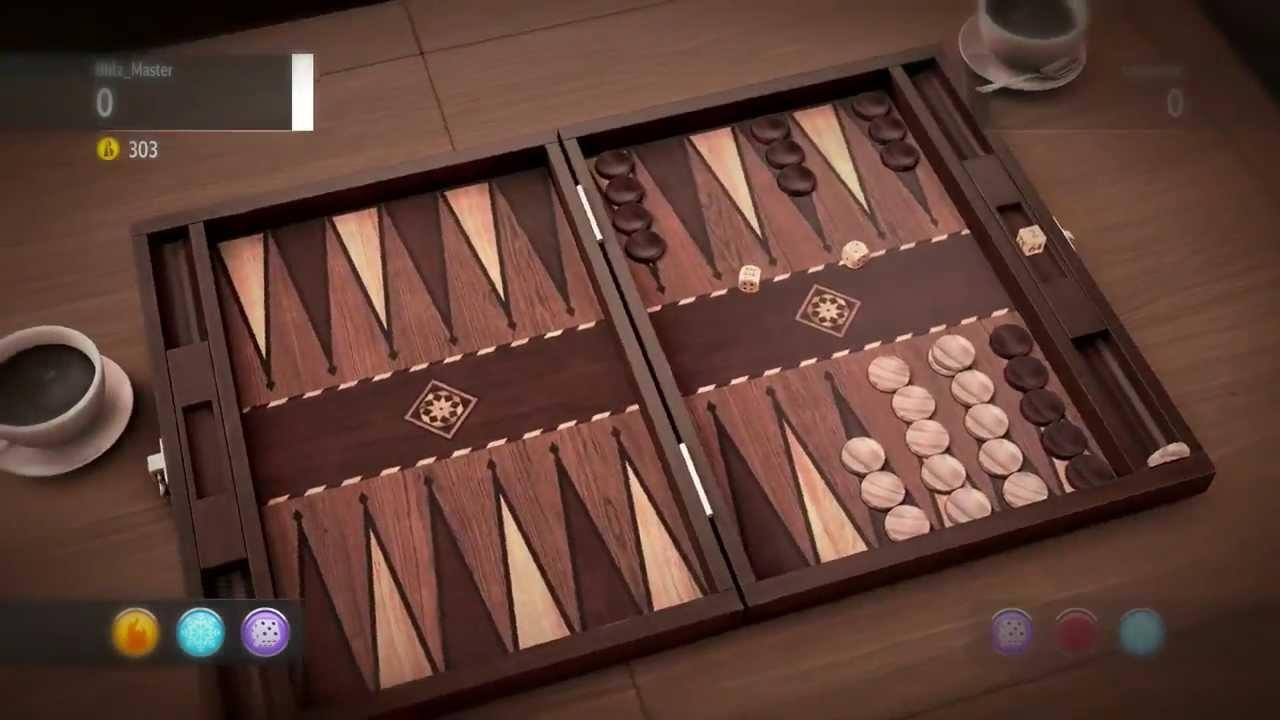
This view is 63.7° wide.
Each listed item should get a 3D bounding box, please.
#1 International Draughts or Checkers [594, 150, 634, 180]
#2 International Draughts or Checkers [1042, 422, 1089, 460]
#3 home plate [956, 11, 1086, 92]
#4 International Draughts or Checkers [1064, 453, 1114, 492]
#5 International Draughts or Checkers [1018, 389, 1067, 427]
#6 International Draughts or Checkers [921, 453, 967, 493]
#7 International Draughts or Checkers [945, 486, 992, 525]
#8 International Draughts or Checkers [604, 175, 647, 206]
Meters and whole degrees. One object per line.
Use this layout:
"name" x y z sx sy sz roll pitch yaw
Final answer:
"International Draughts or Checkers" -0.124 -0.923 4.864 0.153 0.146 0.036 0 -30 -3
"International Draughts or Checkers" 1.814 0.348 4.412 0.171 0.172 0.043 -13 -22 -7
"home plate" 1.876 -1.475 5.062 0.502 0.479 0.087 11 -3 3
"International Draughts or Checkers" 1.890 0.458 4.348 0.155 0.147 0.036 0 -38 0
"International Draughts or Checkers" 1.745 0.209 4.470 0.178 0.167 0.033 -14 -22 -3
"International Draughts or Checkers" 1.292 0.486 4.386 0.179 0.167 0.035 -11 -22 -12
"International Draughts or Checkers" 1.370 0.613 4.320 0.153 0.148 0.035 1 -33 10
"International Draughts or Checkers" -0.074 -0.790 4.818 0.147 0.148 0.039 -28 -27 -17
